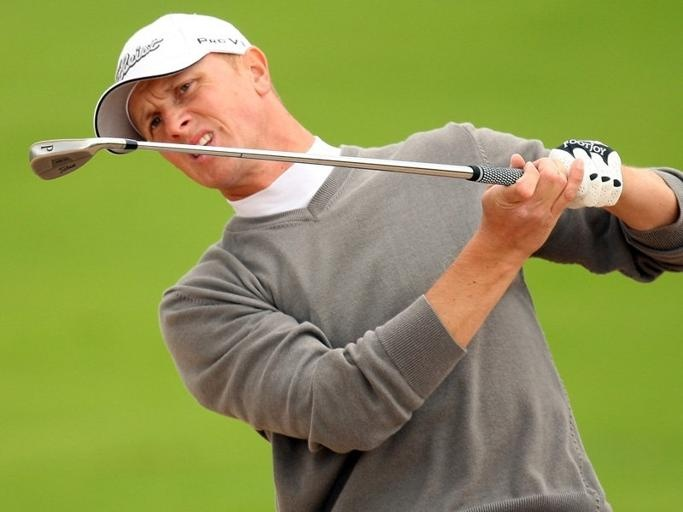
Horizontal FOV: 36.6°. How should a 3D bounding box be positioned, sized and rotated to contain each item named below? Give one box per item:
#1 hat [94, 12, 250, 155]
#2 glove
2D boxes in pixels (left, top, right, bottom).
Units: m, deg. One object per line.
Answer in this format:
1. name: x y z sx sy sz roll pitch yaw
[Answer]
1. hat: -0.385 -0.409 2.267 0.375 0.199 0.285 -13 -17 -45
2. glove: 0.470 -0.177 2.068 0.137 0.136 0.138 7 -80 -6
